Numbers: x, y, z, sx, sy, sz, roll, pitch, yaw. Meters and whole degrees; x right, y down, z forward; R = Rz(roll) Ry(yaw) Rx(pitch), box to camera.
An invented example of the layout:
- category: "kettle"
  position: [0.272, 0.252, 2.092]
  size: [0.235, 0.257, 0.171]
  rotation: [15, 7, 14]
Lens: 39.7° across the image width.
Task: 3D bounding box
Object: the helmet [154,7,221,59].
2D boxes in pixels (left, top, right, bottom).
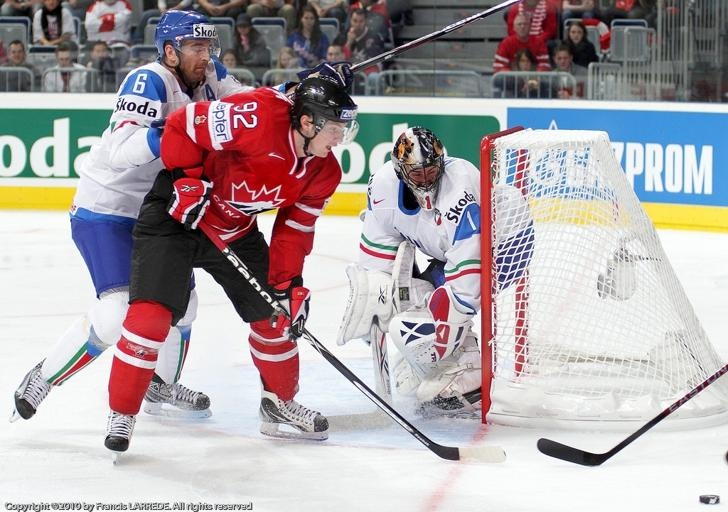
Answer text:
- category: "helmet"
  position: [-0.766, -0.971, 4.453]
  size: [0.319, 0.224, 0.231]
  rotation: [4, 8, 29]

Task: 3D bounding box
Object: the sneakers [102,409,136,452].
- category: "sneakers"
  position: [-0.983, 0.728, 4.088]
  size: [0.116, 0.193, 0.118]
  rotation: [-1, 9, -9]

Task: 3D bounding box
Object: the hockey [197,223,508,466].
- category: "hockey"
  position: [-0.021, 0.429, 4.569]
  size: [1.791, 0.203, 0.155]
  rotation: [29, 47, 16]

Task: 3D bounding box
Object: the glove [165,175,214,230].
- category: "glove"
  position: [-0.710, -0.224, 4.111]
  size: [0.175, 0.197, 0.082]
  rotation: [14, 5, 4]

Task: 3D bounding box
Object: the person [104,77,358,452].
- category: "person"
  position: [-0.570, 0.031, 4.254]
  size: [1.027, 1.564, 0.442]
  rotation: [-2, 9, -14]

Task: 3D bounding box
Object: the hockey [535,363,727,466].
- category: "hockey"
  position: [1.162, 0.701, 4.336]
  size: [0.775, 0.235, 0.058]
  rotation: [-24, -12, -4]

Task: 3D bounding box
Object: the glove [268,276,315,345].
- category: "glove"
  position: [-0.299, 0.220, 4.326]
  size: [0.182, 0.234, 0.111]
  rotation: [-25, -10, 3]

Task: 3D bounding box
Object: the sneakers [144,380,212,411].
- category: "sneakers"
  position: [-0.851, 0.651, 4.715]
  size: [0.334, 0.129, 0.124]
  rotation: [2, 11, 8]

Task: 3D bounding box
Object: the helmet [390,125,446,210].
- category: "helmet"
  position: [0.265, -0.388, 4.555]
  size: [0.271, 0.336, 0.328]
  rotation: [-12, 51, -1]
